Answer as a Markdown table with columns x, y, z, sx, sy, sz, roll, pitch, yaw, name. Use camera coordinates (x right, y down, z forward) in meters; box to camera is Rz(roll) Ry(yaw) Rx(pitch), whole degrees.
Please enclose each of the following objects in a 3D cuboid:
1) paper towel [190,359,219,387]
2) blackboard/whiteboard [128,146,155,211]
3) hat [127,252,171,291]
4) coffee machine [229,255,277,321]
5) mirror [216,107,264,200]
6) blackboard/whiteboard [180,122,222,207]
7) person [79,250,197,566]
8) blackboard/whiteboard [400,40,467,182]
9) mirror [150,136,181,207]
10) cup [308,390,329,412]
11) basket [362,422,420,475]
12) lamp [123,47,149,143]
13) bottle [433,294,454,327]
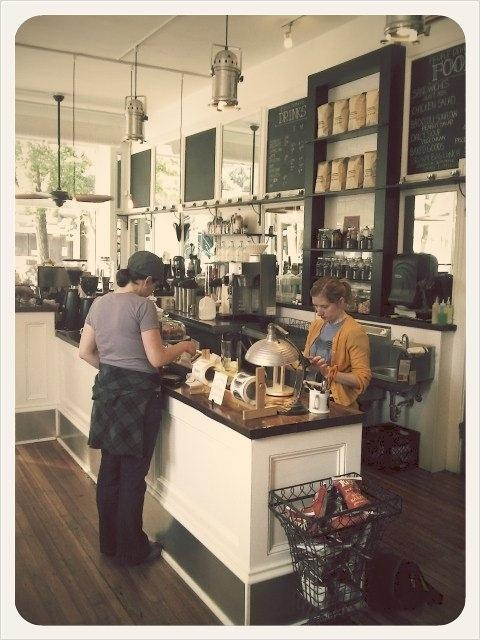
| x | y | z | sx | sy | sz | roll | pitch | yaw | name |
| --- | --- | --- | --- | --- | --- | --- | --- | --- | --- |
| -0.167 | 0.239 | 2.341 | 0.128 | 0.108 | 0.139 | 0 | 4 | -9 | paper towel |
| -1.640 | -2.374 | 8.637 | 0.048 | 1.534 | 1.113 | -2 | 6 | -26 | blackboard/whiteboard |
| -0.434 | -0.230 | 2.367 | 0.178 | 0.157 | 0.153 | -1 | 4 | -22 | hat |
| 0.106 | -0.320 | 4.925 | 0.429 | 0.775 | 0.430 | 1 | 1 | -14 | coffee machine |
| 0.023 | -1.945 | 5.982 | 0.054 | 1.309 | 0.973 | -2 | 6 | -30 | mirror |
| -0.500 | -2.079 | 6.846 | 0.042 | 1.479 | 1.040 | -1 | 5 | -28 | blackboard/whiteboard |
| -0.535 | 0.437 | 2.439 | 0.522 | 1.504 | 0.313 | 2 | 3 | 29 | person |
| 1.436 | -1.512 | 3.748 | 0.086 | 0.865 | 0.491 | -1 | 4 | -30 | blackboard/whiteboard |
| -1.141 | -2.322 | 7.990 | 0.086 | 1.601 | 0.989 | -3 | 6 | -32 | mirror |
| 0.301 | 0.305 | 1.952 | 0.055 | 0.079 | 0.075 | 0 | -3 | 21 | cup |
| 1.120 | 0.940 | 3.792 | 0.290 | 0.296 | 0.311 | 0 | 1 | -32 | basket |
| -1.234 | -2.516 | 6.115 | 0.247 | 1.250 | 1.996 | 0 | 4 | -12 | lamp |
| 1.437 | -0.060 | 3.636 | 0.131 | 0.193 | 0.188 | 3 | 4 | 37 | bottle |
